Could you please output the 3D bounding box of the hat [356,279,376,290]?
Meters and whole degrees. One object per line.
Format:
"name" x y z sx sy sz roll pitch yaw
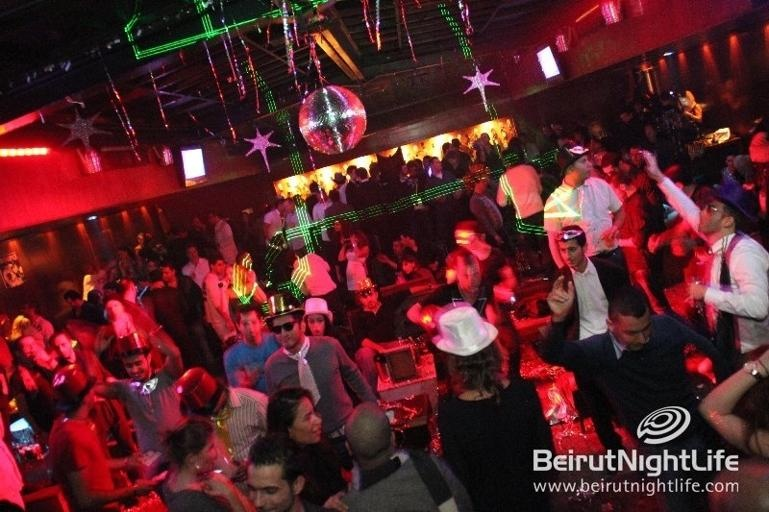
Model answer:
"hat" -0.270 0.401 7.665 0.204 0.093 0.204 -4 4 0

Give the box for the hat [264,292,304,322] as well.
"hat" -1.064 0.519 5.627 0.358 0.200 0.398 -7 -11 -6

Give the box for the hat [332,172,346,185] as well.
"hat" -1.083 -1.894 13.666 0.371 0.349 0.094 12 13 22

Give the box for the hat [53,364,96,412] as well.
"hat" -2.907 1.260 5.205 0.304 0.167 0.426 -47 43 -10

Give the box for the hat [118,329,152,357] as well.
"hat" -2.407 0.859 5.332 0.182 0.263 0.275 -15 8 30

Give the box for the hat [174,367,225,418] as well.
"hat" -1.601 1.162 4.751 0.424 0.236 0.388 15 60 42

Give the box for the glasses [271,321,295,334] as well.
"glasses" -0.969 0.683 5.194 0.269 0.109 0.099 -15 9 33
